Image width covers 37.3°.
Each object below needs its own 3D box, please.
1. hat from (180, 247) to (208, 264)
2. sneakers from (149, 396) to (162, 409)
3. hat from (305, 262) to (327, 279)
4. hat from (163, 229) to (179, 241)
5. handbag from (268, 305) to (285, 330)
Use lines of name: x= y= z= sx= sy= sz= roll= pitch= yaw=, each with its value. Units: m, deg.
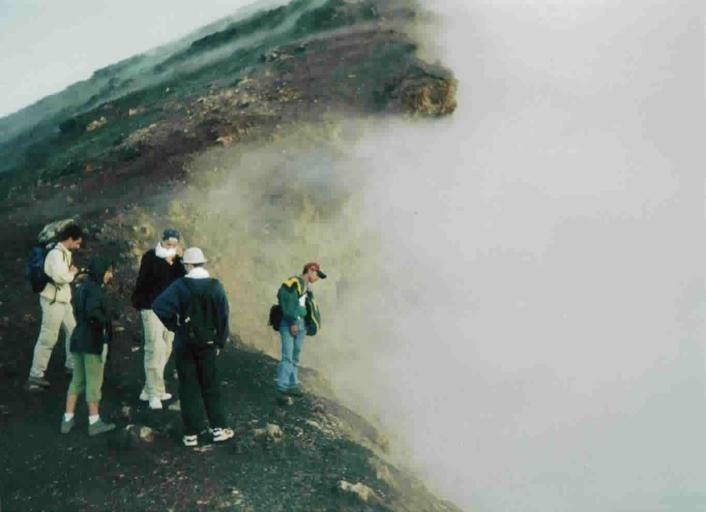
hat: x=-3.537 y=-0.001 z=23.833 sx=0.341 sy=0.445 sz=0.254 roll=4 pitch=96 yaw=26
sneakers: x=-4.573 y=3.460 z=24.412 sx=0.262 sy=0.246 sz=0.257 roll=132 pitch=139 yaw=-61
hat: x=-0.899 y=0.368 z=25.315 sx=0.311 sy=0.480 sz=0.286 roll=-173 pitch=90 yaw=-72
hat: x=-4.184 y=-0.472 z=24.140 sx=0.276 sy=0.225 sz=0.302 roll=8 pitch=92 yaw=36
handbag: x=-1.852 y=1.527 z=25.571 sx=0.442 sy=0.617 sz=0.929 roll=1 pitch=84 yaw=-3
